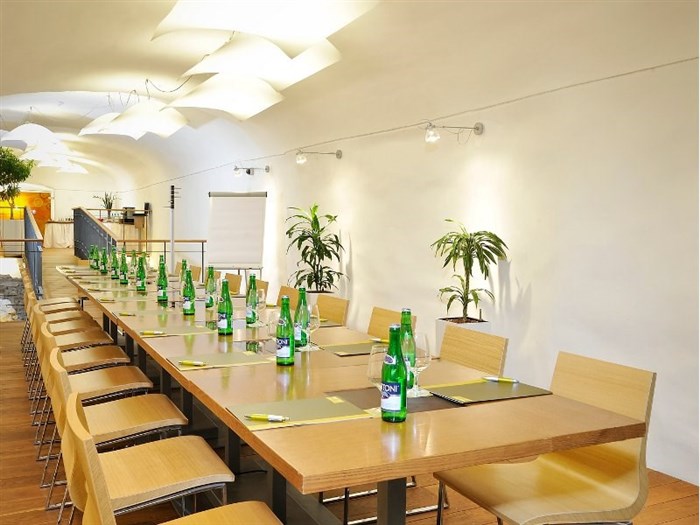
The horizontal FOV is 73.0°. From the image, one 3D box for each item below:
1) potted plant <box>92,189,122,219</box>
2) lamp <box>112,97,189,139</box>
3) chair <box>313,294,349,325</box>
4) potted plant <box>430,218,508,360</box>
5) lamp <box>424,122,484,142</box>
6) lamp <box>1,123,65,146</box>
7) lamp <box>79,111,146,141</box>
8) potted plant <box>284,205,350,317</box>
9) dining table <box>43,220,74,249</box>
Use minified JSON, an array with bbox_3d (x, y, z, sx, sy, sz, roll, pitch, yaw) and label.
[{"bbox_3d":[-10.167,-2.483,19.846,0.981,1.207,2.627,3,2,-30],"label":"potted plant"},{"bbox_3d":[-3.373,-2.367,7.816,1.039,0.477,1.087,1,3,25],"label":"lamp"},{"bbox_3d":[-0.178,0.358,3.612,0.223,0.306,0.194,3,3,-36],"label":"chair"},{"bbox_3d":[1.167,0.132,4.749,0.867,1.429,0.879,0,2,-22],"label":"potted plant"},{"bbox_3d":[1.077,-1.383,4.947,0.557,0.248,0.237,-3,7,-4],"label":"lamp"},{"bbox_3d":[-7.694,-3.152,11.399,1.126,0.436,1.581,3,2,-34],"label":"lamp"},{"bbox_3d":[-4.176,-2.384,8.305,0.977,0.366,1.006,-3,10,-30],"label":"lamp"},{"bbox_3d":[-0.495,0.012,6.909,0.729,1.380,0.766,4,-9,-4],"label":"potted plant"},{"bbox_3d":[-10.127,-0.956,16.509,1.063,0.916,1.150,1,-1,0],"label":"dining table"}]
